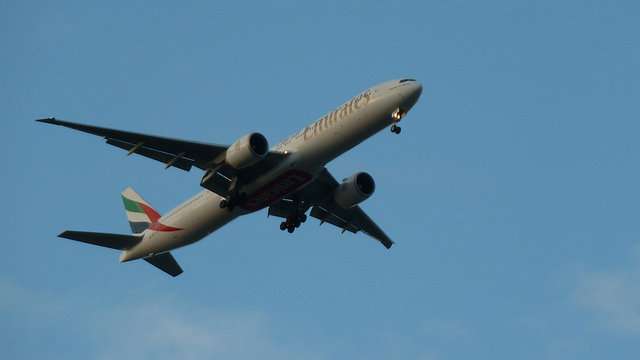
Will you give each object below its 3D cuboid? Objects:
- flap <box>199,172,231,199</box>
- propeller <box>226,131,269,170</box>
[{"bbox_3d":[-5.880,0.350,60.862,1.494,0.729,1.207,44,-72,-8],"label":"flap"},{"bbox_3d":[-4.058,-1.636,59.402,2.435,1.094,1.676,-42,-82,17],"label":"propeller"}]
